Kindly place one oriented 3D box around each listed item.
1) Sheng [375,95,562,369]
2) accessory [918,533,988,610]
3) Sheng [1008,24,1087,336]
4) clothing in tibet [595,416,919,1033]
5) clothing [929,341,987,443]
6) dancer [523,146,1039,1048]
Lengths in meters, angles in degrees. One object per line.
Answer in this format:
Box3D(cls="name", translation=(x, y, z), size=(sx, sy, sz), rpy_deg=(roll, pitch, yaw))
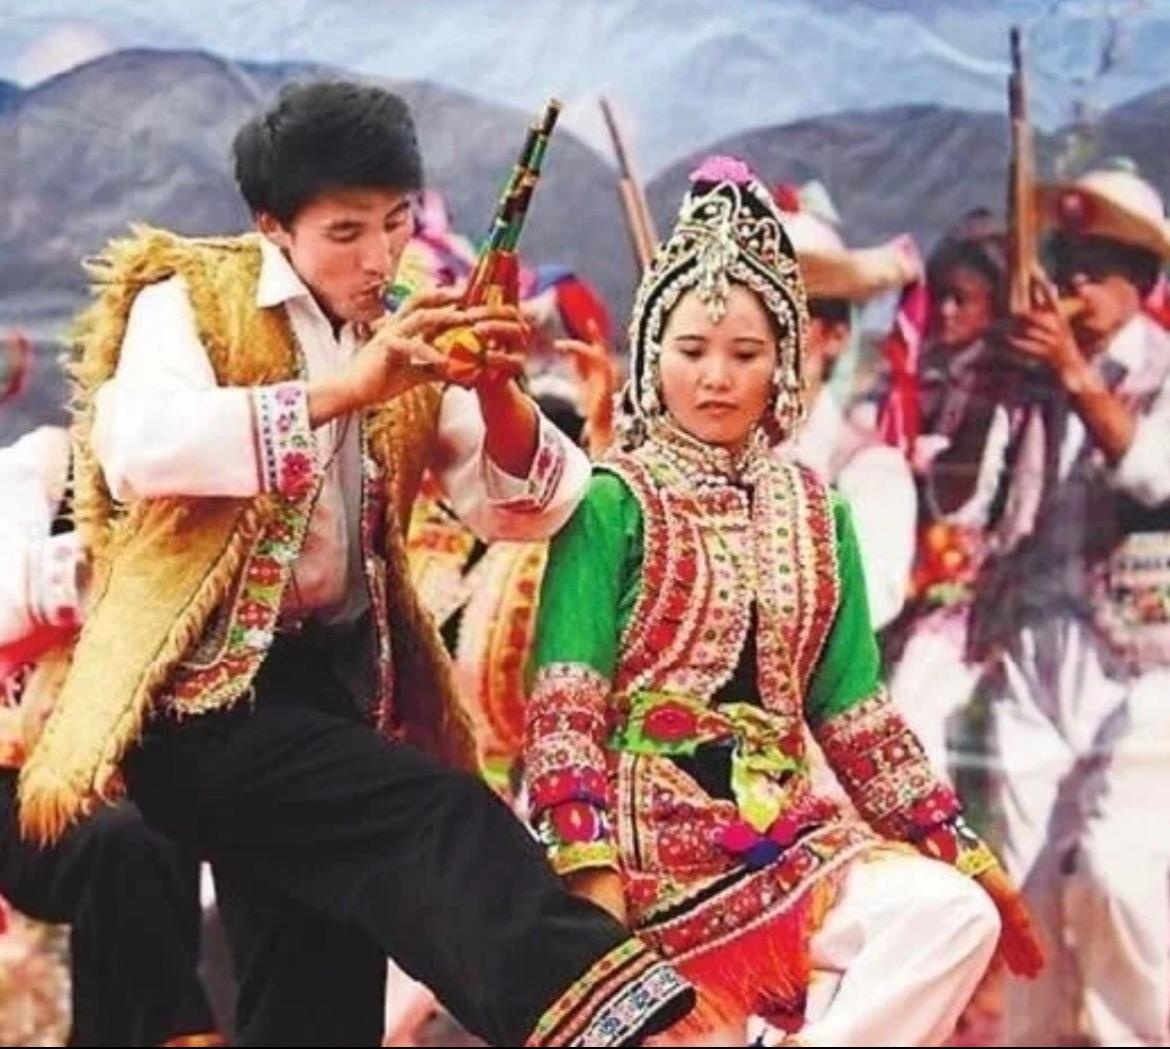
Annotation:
Box3D(cls="Sheng", translation=(-0.215, -0.464, 2.812), size=(0.190, 0.573, 0.157), rpy_deg=(18, 1, -9))
Box3D(cls="accessory", translation=(0.645, 0.075, 2.844), size=(0.129, 0.128, 0.036), rpy_deg=(8, 1, -6))
Box3D(cls="Sheng", translation=(0.773, -0.577, 2.911), size=(0.070, 0.681, 0.224), rpy_deg=(0, 1, 11))
Box3D(cls="clothing in tibet", translation=(0.236, 0.273, 2.626), size=(0.485, 0.975, 0.521), rpy_deg=(-7, 19, -17))
Box3D(cls="clothing", translation=(0.650, -0.231, 2.904), size=(0.100, 0.160, 0.041), rpy_deg=(17, 1, -21))
Box3D(cls="dancer", translation=(0.317, 0.180, 2.803), size=(0.808, 1.469, 0.762), rpy_deg=(3, -2, 38))
